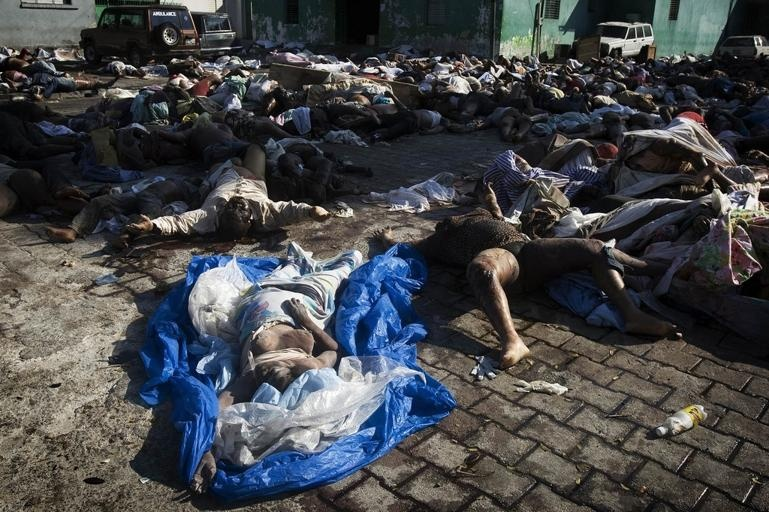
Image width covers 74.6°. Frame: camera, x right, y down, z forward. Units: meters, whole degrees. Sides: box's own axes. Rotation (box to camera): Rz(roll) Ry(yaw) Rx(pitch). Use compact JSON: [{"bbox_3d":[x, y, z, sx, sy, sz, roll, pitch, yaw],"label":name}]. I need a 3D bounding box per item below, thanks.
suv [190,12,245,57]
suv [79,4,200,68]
[{"bbox_3d":[-6.553,-8.565,19.364,1.392,1.139,2.297,-20,42,-35],"label":"suv"},{"bbox_3d":[-8.975,-8.172,18.356,4.108,1.783,2.283,21,34,23],"label":"suv"}]
